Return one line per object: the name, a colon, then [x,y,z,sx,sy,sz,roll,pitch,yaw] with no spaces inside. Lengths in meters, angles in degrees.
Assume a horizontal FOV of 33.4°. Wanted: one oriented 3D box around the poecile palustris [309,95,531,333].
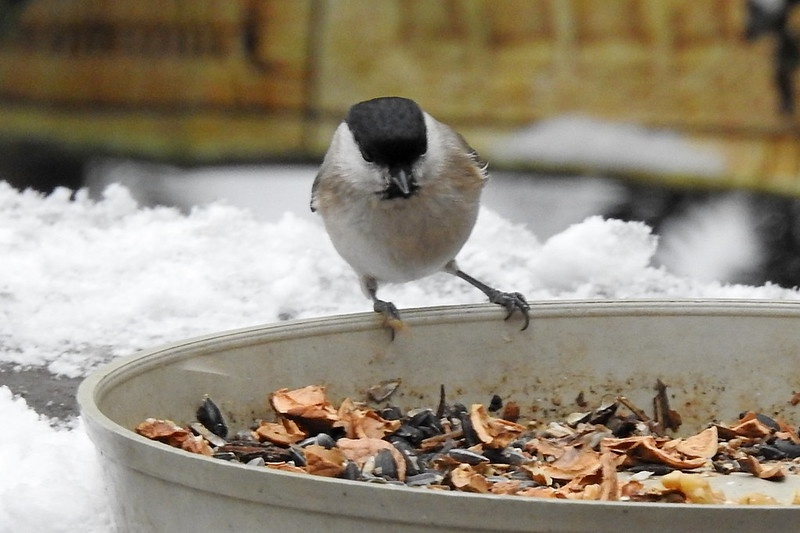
poecile palustris: [0.010,-0.244,4.879,0.635,0.769,0.324,-2,24,1]
